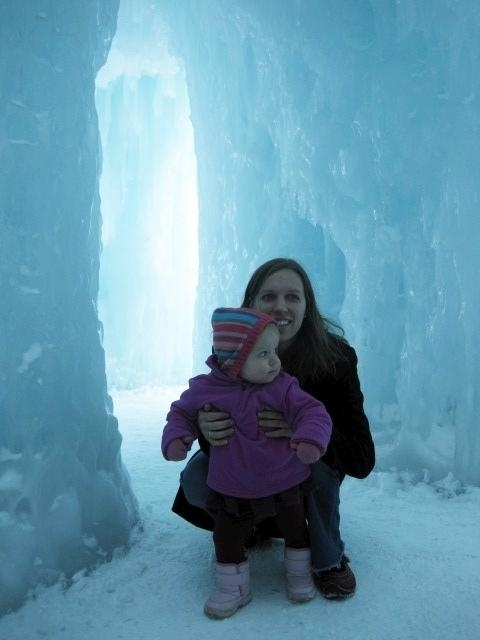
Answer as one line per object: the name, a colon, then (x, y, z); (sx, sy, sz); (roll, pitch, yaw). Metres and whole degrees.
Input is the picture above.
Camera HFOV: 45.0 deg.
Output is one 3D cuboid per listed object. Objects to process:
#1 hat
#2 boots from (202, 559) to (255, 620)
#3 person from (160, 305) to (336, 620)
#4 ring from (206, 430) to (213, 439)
hat: (0.010, 0.049, 1.575); (0.171, 0.204, 0.148); (-20, -6, 28)
boots: (-0.030, 0.676, 1.454); (0.137, 0.145, 0.084); (7, -14, -39)
person: (0.023, 0.365, 1.484); (0.393, 0.791, 0.281); (-4, 5, 1)
ring: (-0.076, 0.288, 1.449); (0.013, 0.020, 0.007); (2, 8, 21)
